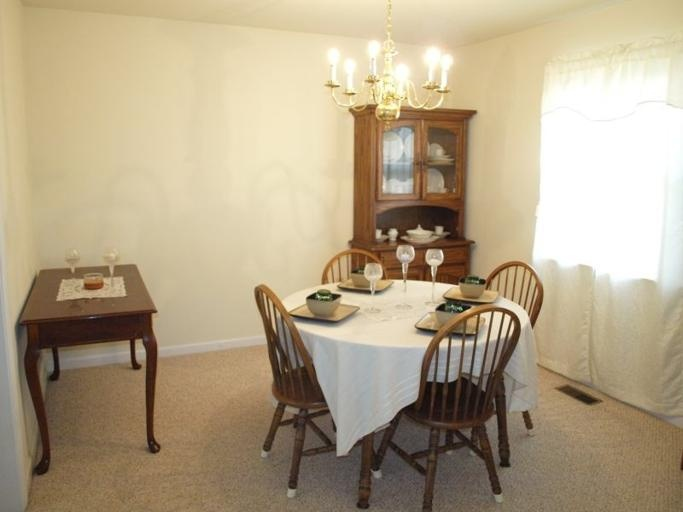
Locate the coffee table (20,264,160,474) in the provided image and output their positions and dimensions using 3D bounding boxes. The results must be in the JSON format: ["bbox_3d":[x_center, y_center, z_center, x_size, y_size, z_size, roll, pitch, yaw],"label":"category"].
[{"bbox_3d":[-1.795,0.695,3.884,0.857,1.008,1.358,-5,16,-31],"label":"coffee table"}]

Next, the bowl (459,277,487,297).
[{"bbox_3d":[0.873,0.192,3.529,0.140,0.092,0.141,0,3,0],"label":"bowl"}]

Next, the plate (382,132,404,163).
[{"bbox_3d":[0.483,-1.014,4.934,0.211,0.285,0.042,-8,13,-27],"label":"plate"}]

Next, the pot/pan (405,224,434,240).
[{"bbox_3d":[0.755,-0.221,5.196,0.168,0.105,0.169,2,6,44],"label":"pot/pan"}]

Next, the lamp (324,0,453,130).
[{"bbox_3d":[0.398,-1.522,4.324,0.949,0.959,2.093,-2,11,1],"label":"lamp"}]

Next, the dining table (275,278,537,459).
[{"bbox_3d":[0.233,0.594,3.085,1.158,0.591,1.227,-3,9,-23],"label":"dining table"}]

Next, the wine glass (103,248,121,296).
[{"bbox_3d":[-1.679,0.083,3.887,0.102,0.294,0.102,-6,22,-32],"label":"wine glass"}]

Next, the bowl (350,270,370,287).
[{"bbox_3d":[0.131,0.156,3.800,0.106,0.067,0.107,0,7,0],"label":"bowl"}]

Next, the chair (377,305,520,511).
[{"bbox_3d":[0.640,0.828,3.132,0.862,1.203,0.482,-4,12,-11],"label":"chair"}]

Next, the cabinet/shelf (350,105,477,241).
[{"bbox_3d":[0.670,-0.823,5.034,1.168,1.559,0.424,-3,8,-20],"label":"cabinet/shelf"}]

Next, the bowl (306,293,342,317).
[{"bbox_3d":[-0.114,0.304,3.300,0.165,0.093,0.138,0,1,25],"label":"bowl"}]

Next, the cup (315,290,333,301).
[{"bbox_3d":[-0.104,0.244,3.266,0.064,0.037,0.066,0,10,0],"label":"cup"}]

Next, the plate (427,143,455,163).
[{"bbox_3d":[0.947,-0.979,5.096,0.144,0.104,0.237,0,0,37],"label":"plate"}]

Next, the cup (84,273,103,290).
[{"bbox_3d":[-1.721,0.173,3.701,0.114,0.096,0.118,1,2,0],"label":"cup"}]

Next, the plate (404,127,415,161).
[{"bbox_3d":[0.640,-1.043,4.974,0.112,0.320,0.020,-4,12,-11],"label":"plate"}]

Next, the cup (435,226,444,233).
[{"bbox_3d":[0.994,-0.270,5.341,0.070,0.059,0.070,0,8,0],"label":"cup"}]

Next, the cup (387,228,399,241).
[{"bbox_3d":[0.515,-0.214,5.189,0.099,0.122,0.106,2,8,0],"label":"cup"}]
